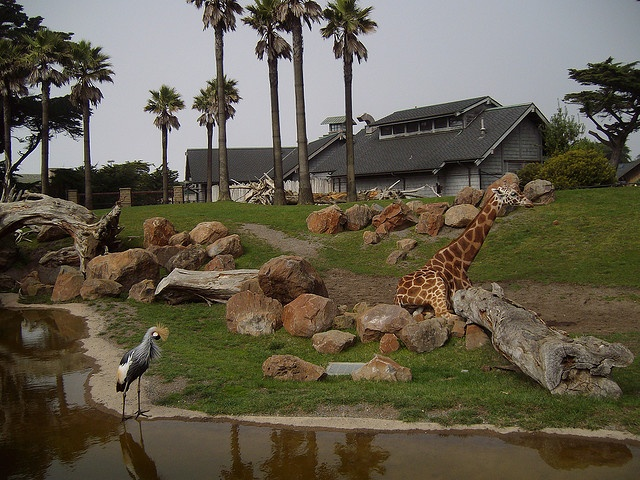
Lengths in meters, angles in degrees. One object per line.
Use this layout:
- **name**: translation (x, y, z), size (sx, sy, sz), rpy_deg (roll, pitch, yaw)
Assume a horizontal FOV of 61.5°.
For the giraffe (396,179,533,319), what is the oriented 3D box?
- **giraffe**: translation (4.229, 0.277, 17.002), size (3.463, 4.056, 1.677), rpy_deg (0, 0, -20)
